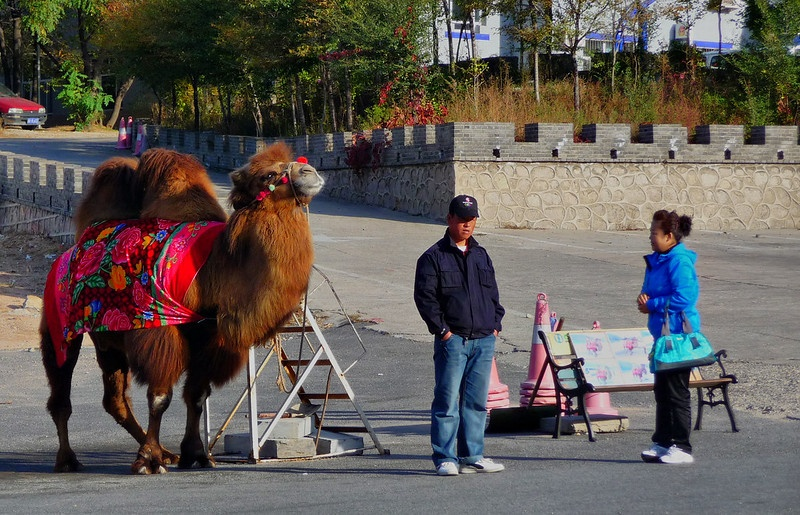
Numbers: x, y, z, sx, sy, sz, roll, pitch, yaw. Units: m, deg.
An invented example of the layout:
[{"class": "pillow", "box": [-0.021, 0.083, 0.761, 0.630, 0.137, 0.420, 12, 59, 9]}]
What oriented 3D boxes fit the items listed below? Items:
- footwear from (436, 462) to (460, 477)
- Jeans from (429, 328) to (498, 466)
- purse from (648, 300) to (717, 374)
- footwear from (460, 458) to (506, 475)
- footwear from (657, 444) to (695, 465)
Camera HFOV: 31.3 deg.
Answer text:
[{"class": "footwear", "box": [0.918, 3.938, 26.910, 0.460, 0.181, 0.201, -2, 2, 23]}, {"class": "Jeans", "box": [1.177, 2.638, 27.041, 1.133, 2.451, 0.435, 0, 4, 3]}, {"class": "purse", "box": [5.422, 1.509, 27.347, 1.194, 1.328, 0.497, 0, 4, 11]}, {"class": "footwear", "box": [1.581, 3.883, 27.115, 0.849, 0.313, 0.306, -1, 0, -2]}, {"class": "footwear", "box": [5.288, 3.728, 27.157, 0.730, 0.296, 0.266, 4, -5, -16]}]
